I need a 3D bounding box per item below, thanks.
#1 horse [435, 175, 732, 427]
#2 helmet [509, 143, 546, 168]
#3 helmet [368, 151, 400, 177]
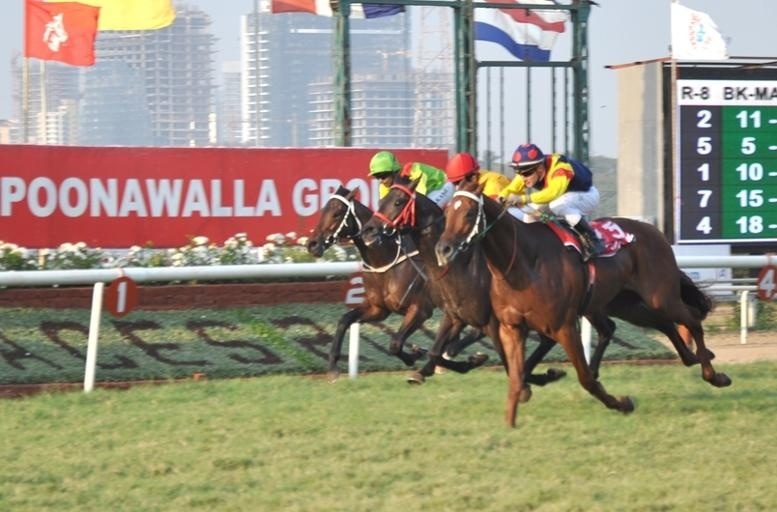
[{"bbox_3d":[1.277,0.296,10.772,1.886,1.611,0.638,-5,4,-34],"label":"horse"},{"bbox_3d":[0.946,-0.680,10.815,0.243,0.163,0.208,-3,4,-1],"label":"helmet"},{"bbox_3d":[-0.028,-0.676,11.637,0.249,0.124,0.177,-16,15,-29],"label":"helmet"}]
